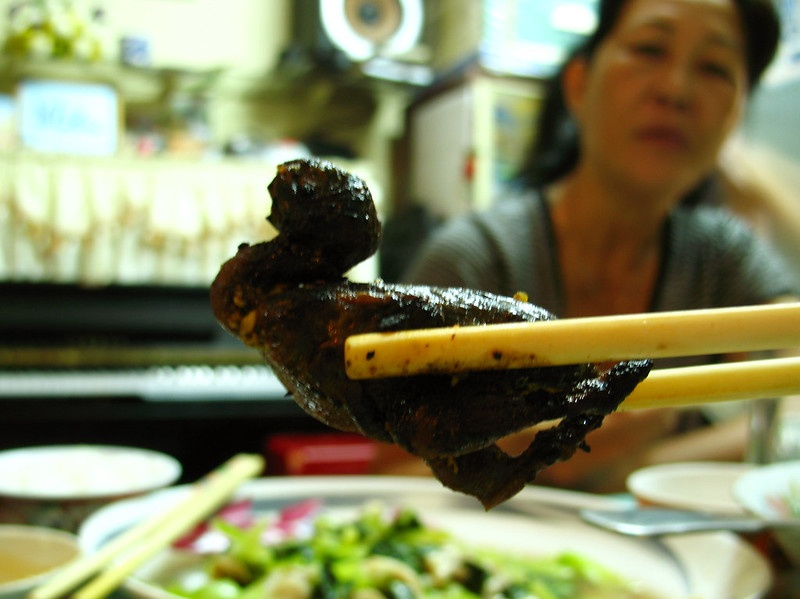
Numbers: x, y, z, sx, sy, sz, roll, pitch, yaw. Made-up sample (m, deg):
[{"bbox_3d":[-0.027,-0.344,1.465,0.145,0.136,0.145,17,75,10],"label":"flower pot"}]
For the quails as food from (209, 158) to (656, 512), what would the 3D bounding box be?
[{"bbox_3d":[0.076,0.089,2.250,1.172,0.620,0.422,16,12,35],"label":"quails as food"}]
